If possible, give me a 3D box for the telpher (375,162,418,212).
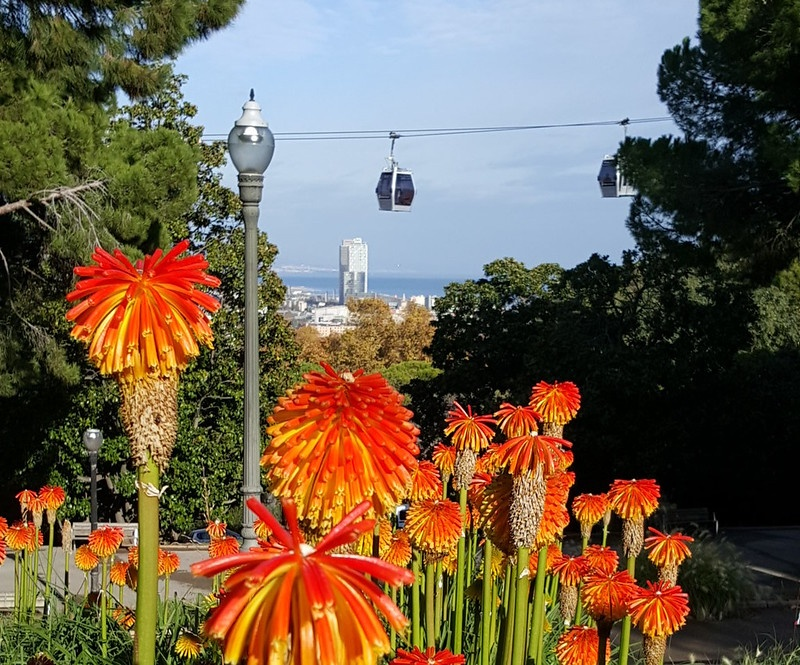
[{"bbox_3d":[-0.126,-4.222,40.982,0.882,1.314,0.827,3,-1,-35],"label":"telpher"}]
